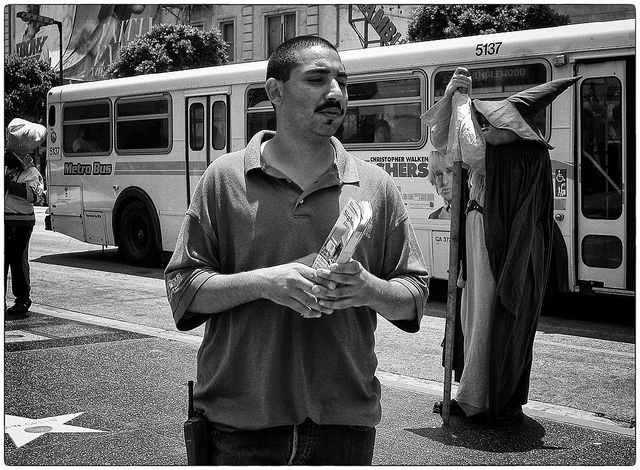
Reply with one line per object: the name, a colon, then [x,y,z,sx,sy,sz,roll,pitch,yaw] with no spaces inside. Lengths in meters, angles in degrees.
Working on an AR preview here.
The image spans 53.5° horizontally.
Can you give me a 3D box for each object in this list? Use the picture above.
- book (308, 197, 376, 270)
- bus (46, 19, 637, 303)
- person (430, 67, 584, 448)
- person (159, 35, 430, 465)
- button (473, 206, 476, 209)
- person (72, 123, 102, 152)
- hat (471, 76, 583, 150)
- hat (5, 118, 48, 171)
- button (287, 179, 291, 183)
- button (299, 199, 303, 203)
book: [0.093,0.012,2.543,0.071,0.285,0.283,31,19,-7]
bus: [-1.089,-1.411,12.637,13.542,3.922,3.967,2,5,41]
person: [1.444,0.122,5.259,1.109,2.959,0.895,2,6,10]
person: [-0.096,0.063,2.863,1.059,1.916,0.641,3,6,21]
button: [1.331,-0.241,5.482,0.015,0.015,0.004,1,-9,20]
person: [-5.173,-2.136,14.072,0.540,0.784,0.469,11,14,23]
hat: [1.709,-1.180,5.443,0.835,0.583,0.543,27,23,30]
hat: [-4.050,-1.242,8.750,0.481,0.696,0.396,-3,7,-27]
button: [-0.136,-0.238,2.797,0.014,0.011,0.002,1,6,2]
button: [-0.083,-0.150,2.767,0.012,0.013,0.003,22,-1,30]
